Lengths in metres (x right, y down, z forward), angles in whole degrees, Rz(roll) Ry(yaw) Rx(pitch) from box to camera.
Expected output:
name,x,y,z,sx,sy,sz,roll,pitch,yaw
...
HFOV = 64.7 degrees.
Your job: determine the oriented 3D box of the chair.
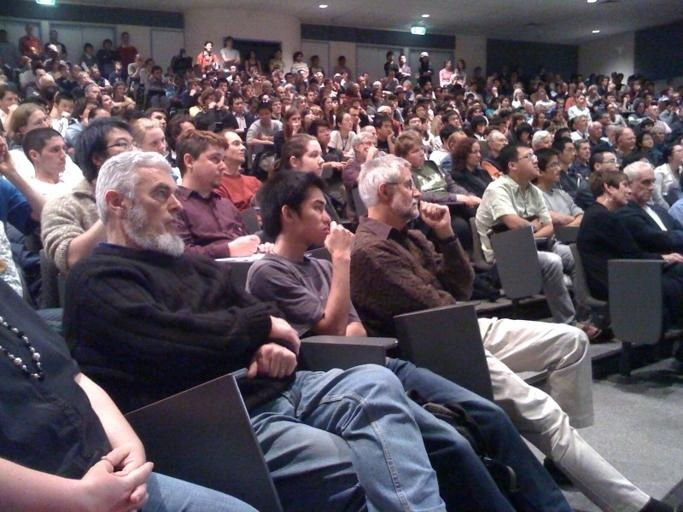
name,x,y,z,sx,sy,sz,roll,pitch,yaw
chair,-0.158,0.260,1.987,1.596,1.228,0.730,4,10,10
